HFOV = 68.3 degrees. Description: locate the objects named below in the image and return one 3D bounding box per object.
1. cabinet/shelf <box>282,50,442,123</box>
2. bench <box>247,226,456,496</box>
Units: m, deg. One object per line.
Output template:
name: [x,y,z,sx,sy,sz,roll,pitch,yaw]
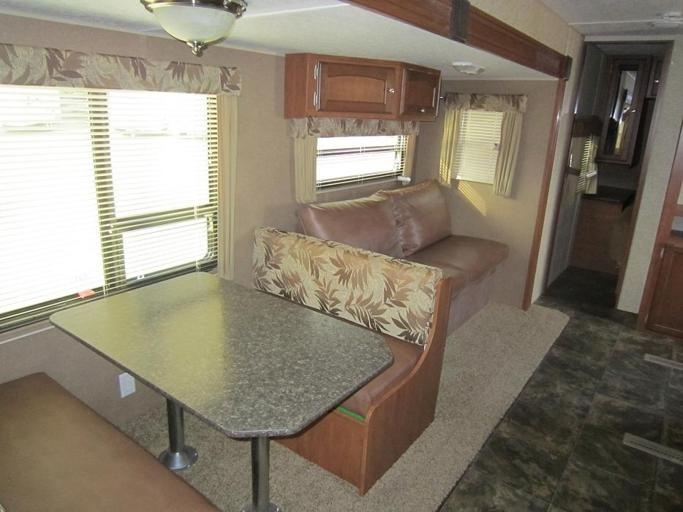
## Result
cabinet/shelf: [0.216,-1.118,3.471,1.205,0.417,0.361,-10,19,-39]
bench: [0.034,0.581,2.588,1.051,0.867,0.607,20,31,35]
